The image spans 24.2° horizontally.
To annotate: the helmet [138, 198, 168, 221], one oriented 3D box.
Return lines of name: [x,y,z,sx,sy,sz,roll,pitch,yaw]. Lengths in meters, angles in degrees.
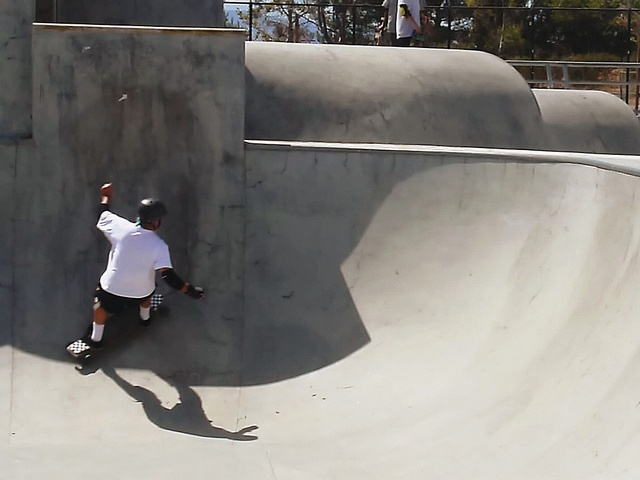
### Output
helmet: [-1.864,-0.365,16.665,0.265,0.273,0.224,-14,46,-4]

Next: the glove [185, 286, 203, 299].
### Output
glove: [-1.449,0.587,16.780,0.261,0.100,0.190,0,-2,-12]

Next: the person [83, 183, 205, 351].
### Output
person: [-2.033,0.376,17.077,1.048,1.331,0.764,31,38,-5]
